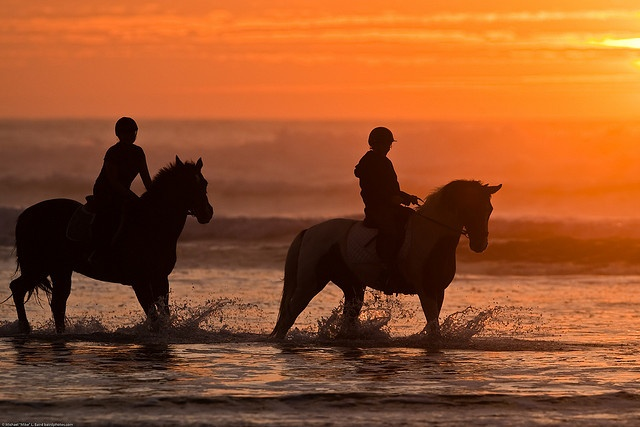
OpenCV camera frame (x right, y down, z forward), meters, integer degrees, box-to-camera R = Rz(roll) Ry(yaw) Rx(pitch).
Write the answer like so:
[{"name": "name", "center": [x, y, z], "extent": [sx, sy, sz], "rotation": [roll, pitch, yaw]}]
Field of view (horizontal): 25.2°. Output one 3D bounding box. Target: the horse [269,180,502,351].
[{"name": "horse", "center": [1.446, 1.095, 26.686], "extent": [5.076, 2.996, 1.287], "rotation": [-4, -8, 42]}]

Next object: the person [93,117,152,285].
[{"name": "person", "center": [-3.649, -0.399, 26.187], "extent": [1.001, 2.686, 0.525], "rotation": [4, 8, -9]}]
